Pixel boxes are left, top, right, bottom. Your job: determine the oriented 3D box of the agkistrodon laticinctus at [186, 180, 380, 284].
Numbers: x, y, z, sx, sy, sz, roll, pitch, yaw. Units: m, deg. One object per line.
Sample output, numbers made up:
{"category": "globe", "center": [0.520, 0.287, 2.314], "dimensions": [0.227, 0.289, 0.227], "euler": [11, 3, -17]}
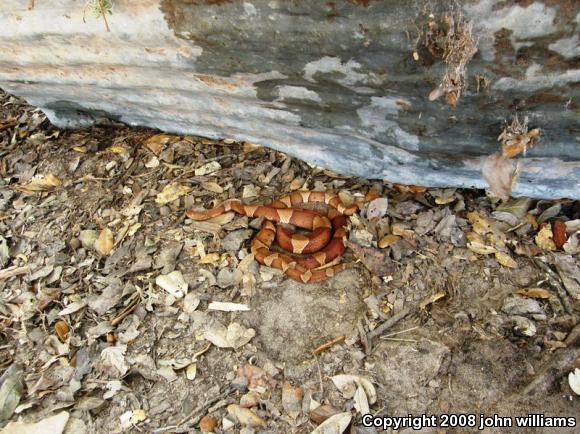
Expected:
{"category": "agkistrodon laticinctus", "center": [0.100, 0.093, 3.890], "dimensions": [1.101, 0.463, 1.206], "euler": [-37, 53, -20]}
